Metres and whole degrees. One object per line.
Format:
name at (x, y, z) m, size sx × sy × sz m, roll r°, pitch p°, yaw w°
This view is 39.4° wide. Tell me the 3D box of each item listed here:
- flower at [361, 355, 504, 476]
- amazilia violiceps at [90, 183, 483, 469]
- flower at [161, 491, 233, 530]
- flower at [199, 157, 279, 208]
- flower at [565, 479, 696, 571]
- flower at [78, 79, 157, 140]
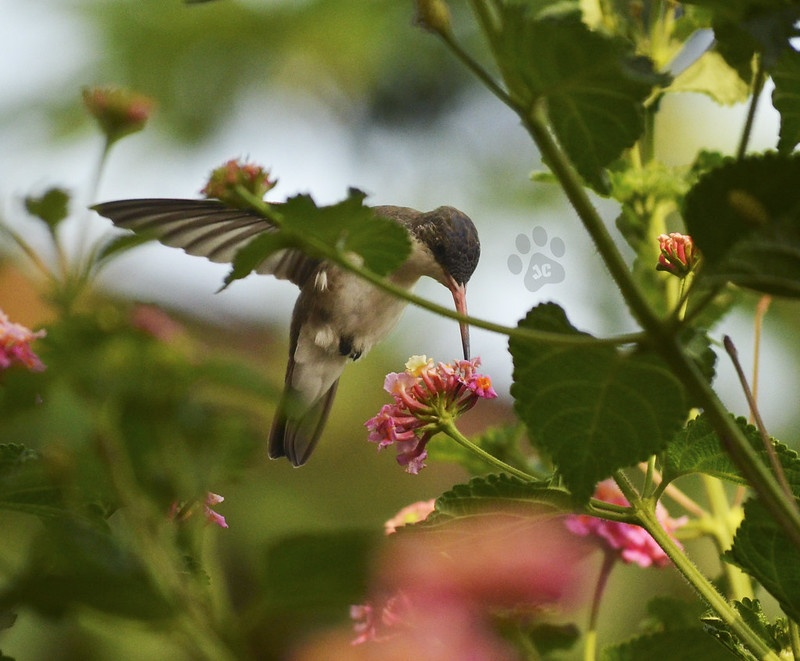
flower at (0.030, 0.071, 1.156) m, size 0.158 × 0.086 × 0.156 m, roll -25°, pitch -9°, yaw -12°
amazilia violiceps at (-0.066, -0.049, 1.538) m, size 0.426 × 0.191 × 0.545 m, roll -11°, pitch -11°, yaw 19°
flower at (-0.242, 0.210, 1.323) m, size 0.053 × 0.039 × 0.016 m, roll 10°, pitch -40°, yaw -1°
flower at (-0.134, -0.129, 0.979) m, size 0.049 × 0.031 × 0.046 m, roll -19°, pitch -15°, yaw 5°
flower at (0.261, 0.184, 1.228) m, size 0.124 × 0.051 × 0.130 m, roll 19°, pitch 0°, yaw 10°
flower at (-0.346, -0.265, 1.351) m, size 0.068 × 0.044 × 0.065 m, roll 2°, pitch 8°, yaw -19°
